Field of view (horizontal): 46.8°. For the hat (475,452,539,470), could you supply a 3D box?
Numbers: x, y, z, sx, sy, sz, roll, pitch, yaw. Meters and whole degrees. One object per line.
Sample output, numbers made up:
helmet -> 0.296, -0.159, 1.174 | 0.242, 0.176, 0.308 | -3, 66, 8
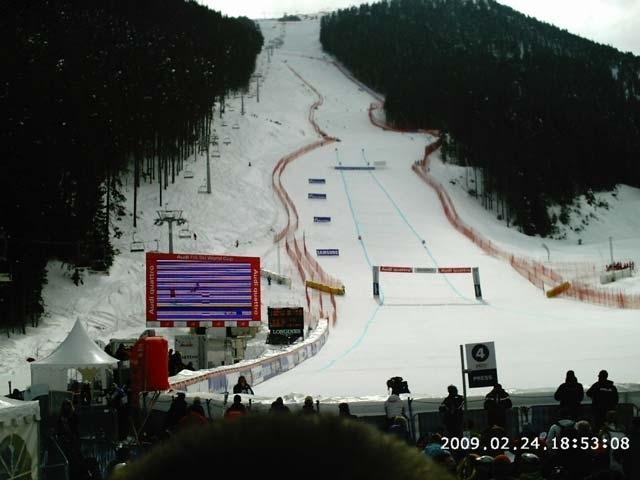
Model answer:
hat -> 3.844, 4.539, 15.195 | 0.875, 0.281, 0.595 | -4, -5, 14

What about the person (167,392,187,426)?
person -> -3.490, 4.116, 18.180 | 0.422, 1.154, 0.363 | 12, 34, 5
